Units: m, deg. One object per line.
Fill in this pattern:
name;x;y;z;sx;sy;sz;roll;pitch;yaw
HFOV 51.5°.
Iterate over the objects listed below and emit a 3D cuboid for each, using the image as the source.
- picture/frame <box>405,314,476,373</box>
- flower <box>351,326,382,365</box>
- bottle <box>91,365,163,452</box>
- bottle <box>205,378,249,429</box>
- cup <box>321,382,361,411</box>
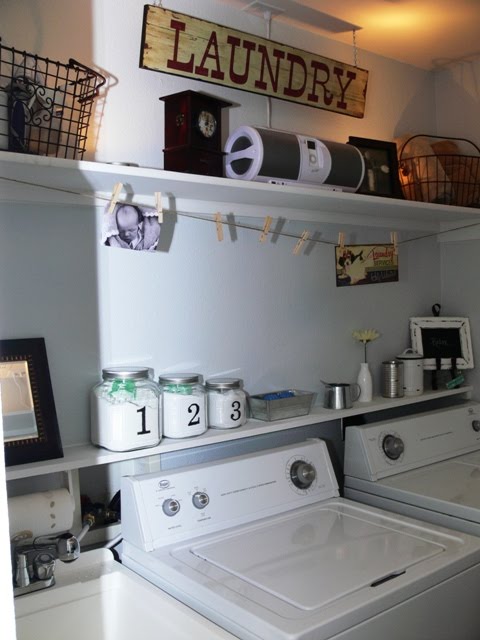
picture/frame;0.797;0.095;2.001;0.235;0.203;0.026;3;-19;-13
flower;0.461;0.093;1.841;0.138;0.189;0.034;-4;6;-28
bottle;-0.273;0.204;1.180;0.157;0.186;0.170;2;-3;-26
bottle;-0.043;0.231;1.371;0.123;0.132;0.133;0;-1;17
cup;0.341;0.250;1.669;0.114;0.073;0.076;9;-12;-30
